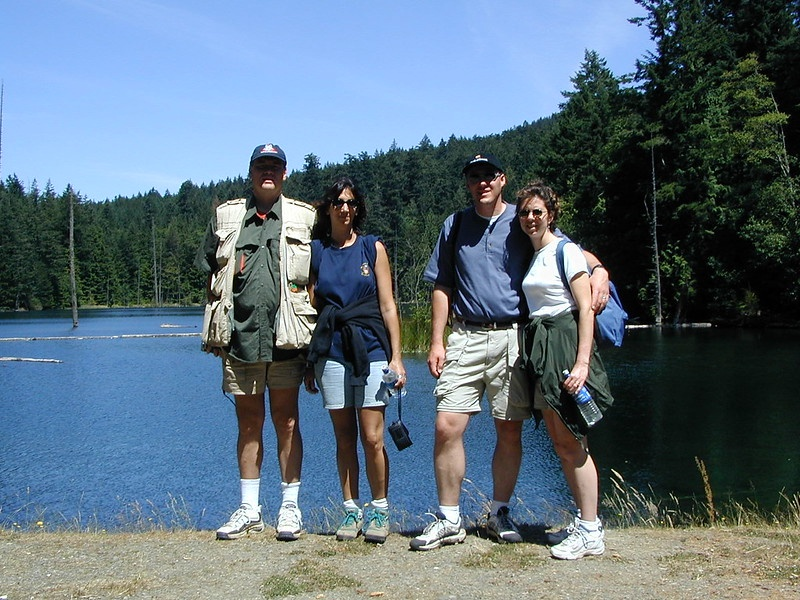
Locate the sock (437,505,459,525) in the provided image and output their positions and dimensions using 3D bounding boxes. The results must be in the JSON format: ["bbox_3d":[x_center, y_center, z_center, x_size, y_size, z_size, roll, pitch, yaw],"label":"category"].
[{"bbox_3d":[0.317,1.421,4.261,0.074,0.162,0.105,-12,10,17],"label":"sock"}]

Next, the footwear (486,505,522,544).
[{"bbox_3d":[0.701,1.561,4.439,0.115,0.188,0.366,-2,-6,-17],"label":"footwear"}]

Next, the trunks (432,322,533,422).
[{"bbox_3d":[0.587,0.507,4.456,0.586,0.705,0.349,2,-19,8],"label":"trunks"}]

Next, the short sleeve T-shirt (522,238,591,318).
[{"bbox_3d":[1.022,-0.124,4.163,0.224,0.408,0.407,-7,-10,-24],"label":"short sleeve T-shirt"}]

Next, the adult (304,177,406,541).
[{"bbox_3d":[-0.320,0.407,4.548,0.676,2.516,0.422,-1,0,-1],"label":"adult"}]

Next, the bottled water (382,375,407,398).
[{"bbox_3d":[-0.055,0.582,4.434,0.072,0.188,0.151,-1,1,45],"label":"bottled water"}]

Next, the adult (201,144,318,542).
[{"bbox_3d":[-1.013,0.312,4.612,0.832,2.898,0.489,-1,0,-10],"label":"adult"}]

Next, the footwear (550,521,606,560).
[{"bbox_3d":[1.133,1.518,4.091,0.394,0.286,0.164,0,0,-10],"label":"footwear"}]

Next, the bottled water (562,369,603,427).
[{"bbox_3d":[1.137,0.618,4.011,0.136,0.441,0.141,-30,-3,9],"label":"bottled water"}]
